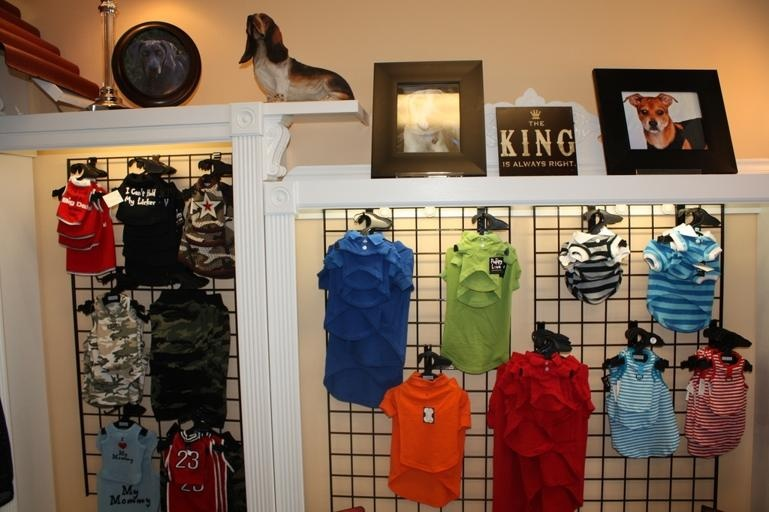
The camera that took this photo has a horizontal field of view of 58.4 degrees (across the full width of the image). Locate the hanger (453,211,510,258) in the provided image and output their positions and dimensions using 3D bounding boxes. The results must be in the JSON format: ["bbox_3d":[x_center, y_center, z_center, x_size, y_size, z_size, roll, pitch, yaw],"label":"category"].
[{"bbox_3d":[0.766,-0.171,4.967,0.281,0.176,0.356,-7,6,9],"label":"hanger"}]

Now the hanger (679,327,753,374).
[{"bbox_3d":[2.467,0.665,5.127,0.555,0.387,0.200,-3,-1,-1],"label":"hanger"}]

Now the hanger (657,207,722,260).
[{"bbox_3d":[2.224,-0.217,5.032,0.445,0.154,0.337,-26,37,-37],"label":"hanger"}]

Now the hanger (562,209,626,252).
[{"bbox_3d":[1.546,-0.216,5.124,0.469,0.310,0.253,-3,-1,9],"label":"hanger"}]

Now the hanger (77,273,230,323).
[{"bbox_3d":[-1.803,0.293,5.324,1.129,0.419,0.315,-3,-1,14],"label":"hanger"}]

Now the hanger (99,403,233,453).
[{"bbox_3d":[-1.683,1.273,5.350,1.037,0.340,0.285,-3,-1,1],"label":"hanger"}]

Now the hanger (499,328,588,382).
[{"bbox_3d":[1.149,0.689,5.155,0.477,0.307,0.412,0,-10,1],"label":"hanger"}]

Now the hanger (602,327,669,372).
[{"bbox_3d":[1.889,0.684,5.135,0.331,0.303,0.126,0,-11,4],"label":"hanger"}]

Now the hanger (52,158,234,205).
[{"bbox_3d":[-1.738,-0.583,5.312,1.197,0.267,0.209,-3,-1,4],"label":"hanger"}]
